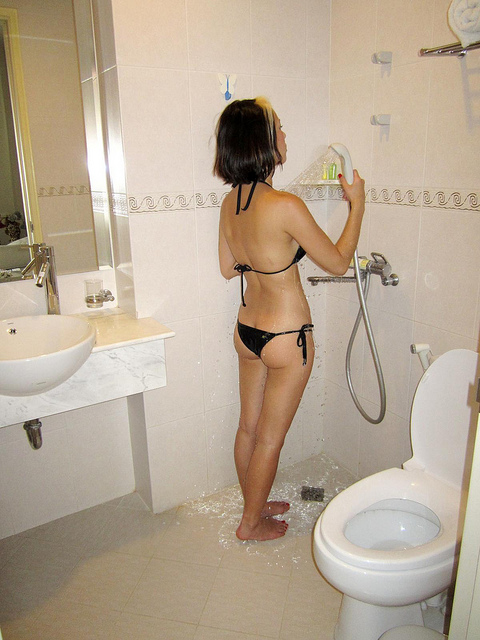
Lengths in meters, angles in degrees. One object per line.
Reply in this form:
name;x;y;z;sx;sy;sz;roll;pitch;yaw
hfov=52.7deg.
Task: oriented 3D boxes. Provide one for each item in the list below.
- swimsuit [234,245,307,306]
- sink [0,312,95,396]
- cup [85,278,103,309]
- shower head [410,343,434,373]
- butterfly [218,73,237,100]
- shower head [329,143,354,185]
swimsuit;0.099;-0.170;1.505;0.199;0.073;0.165;-35;31;-9
sink;-0.532;0.089;1.342;0.254;0.154;0.466;-5;14;-19
cup;-0.489;-0.091;1.632;0.068;0.137;0.077;-3;10;-15
shower head;0.560;0.114;1.488;0.076;0.121;0.026;-30;33;-23
butterfly;-0.046;-0.792;1.637;0.083;0.099;0.006;-26;35;-31
shower head;0.295;-0.453;1.397;0.065;0.121;0.151;2;13;14
